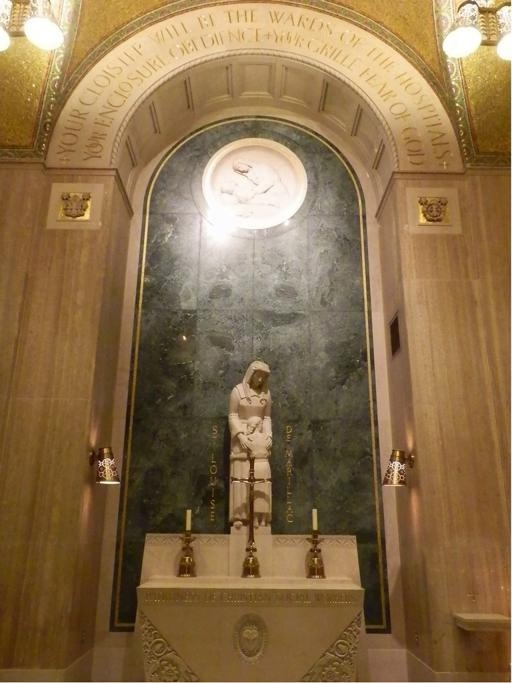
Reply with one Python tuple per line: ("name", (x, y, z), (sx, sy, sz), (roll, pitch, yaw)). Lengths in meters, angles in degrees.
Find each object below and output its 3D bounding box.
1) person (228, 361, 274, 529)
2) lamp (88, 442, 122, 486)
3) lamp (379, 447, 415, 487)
("person", (-0.054, 0.871, 4.736), (0.356, 1.415, 0.336), (0, -12, -2))
("lamp", (-1.272, 1.033, 4.548), (0.233, 0.292, 0.367), (3, -13, -17))
("lamp", (1.199, 1.065, 4.606), (0.258, 0.289, 0.361), (-3, -12, 12))
